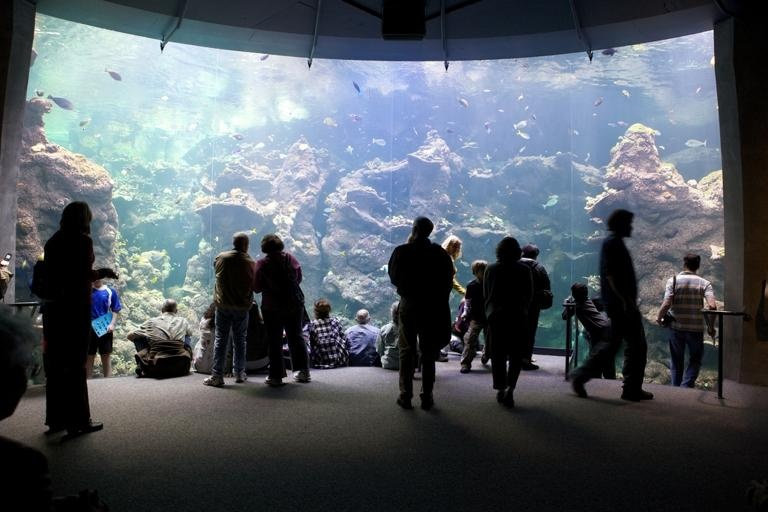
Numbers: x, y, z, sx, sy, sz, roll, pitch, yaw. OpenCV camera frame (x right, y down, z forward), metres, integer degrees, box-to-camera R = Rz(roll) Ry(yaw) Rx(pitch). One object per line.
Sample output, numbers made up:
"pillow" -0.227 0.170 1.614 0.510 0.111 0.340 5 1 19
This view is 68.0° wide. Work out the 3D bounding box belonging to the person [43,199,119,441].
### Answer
"person" -4.014 0.784 7.720 1.014 3.067 0.976 -2 -2 -44
